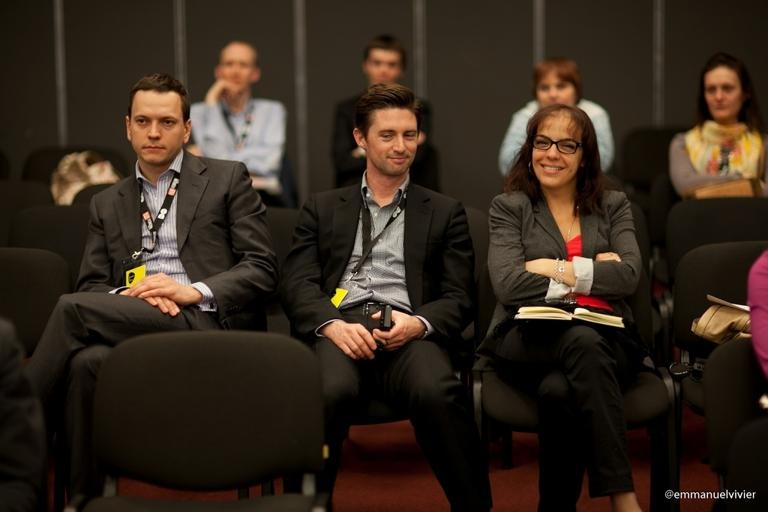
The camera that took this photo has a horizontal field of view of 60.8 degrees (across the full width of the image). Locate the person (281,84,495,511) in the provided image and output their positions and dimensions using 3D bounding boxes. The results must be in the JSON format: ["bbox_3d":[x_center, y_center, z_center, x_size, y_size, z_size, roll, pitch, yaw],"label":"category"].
[{"bbox_3d":[-0.031,0.144,2.915,0.924,1.712,0.781,-1,5,0],"label":"person"}]

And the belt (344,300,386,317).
[{"bbox_3d":[-0.095,0.239,3.039,0.197,0.064,0.078,-1,5,-6],"label":"belt"}]

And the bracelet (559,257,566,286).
[{"bbox_3d":[0.796,0.068,2.929,0.027,0.094,0.035,-2,5,-16],"label":"bracelet"}]

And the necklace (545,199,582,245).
[{"bbox_3d":[0.865,-0.162,3.080,0.097,0.182,0.041,-4,-35,-13],"label":"necklace"}]

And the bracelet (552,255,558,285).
[{"bbox_3d":[0.775,0.064,2.944,0.033,0.093,0.061,1,5,15],"label":"bracelet"}]

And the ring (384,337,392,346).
[{"bbox_3d":[0.016,0.378,2.887,0.030,0.040,0.014,-1,5,1],"label":"ring"}]

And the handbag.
[{"bbox_3d":[1.453,0.310,2.824,0.286,0.154,0.382,15,38,29],"label":"handbag"}]

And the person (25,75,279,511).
[{"bbox_3d":[-1.063,-0.076,3.054,1.051,1.583,0.571,-4,6,-30],"label":"person"}]

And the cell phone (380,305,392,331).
[{"bbox_3d":[0.011,0.273,2.890,0.053,0.098,0.058,0,5,1],"label":"cell phone"}]

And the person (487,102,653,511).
[{"bbox_3d":[0.801,0.155,2.958,0.705,1.717,0.804,1,6,22],"label":"person"}]
